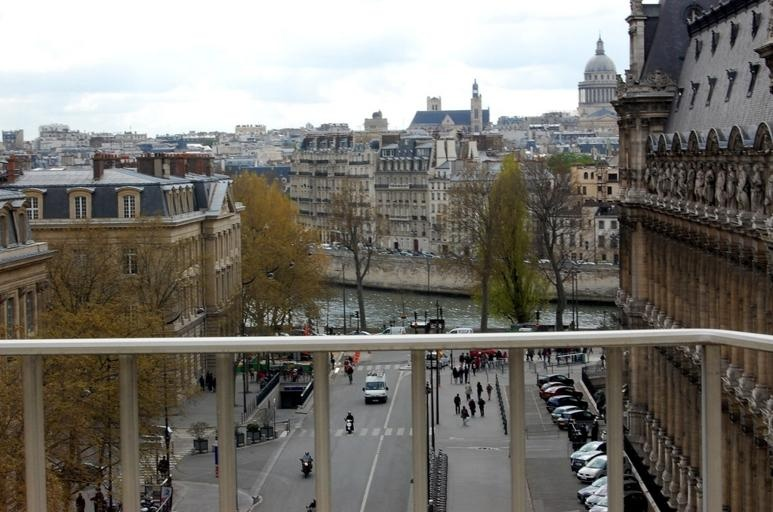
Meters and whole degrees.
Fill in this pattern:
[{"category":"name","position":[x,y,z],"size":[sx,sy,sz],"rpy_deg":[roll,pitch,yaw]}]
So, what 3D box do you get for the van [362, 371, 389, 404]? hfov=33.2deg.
[{"category":"van","position":[-0.595,7.100,69.669],"size":[1.240,1.445,2.749],"rpy_deg":[-1,4,2]}]
